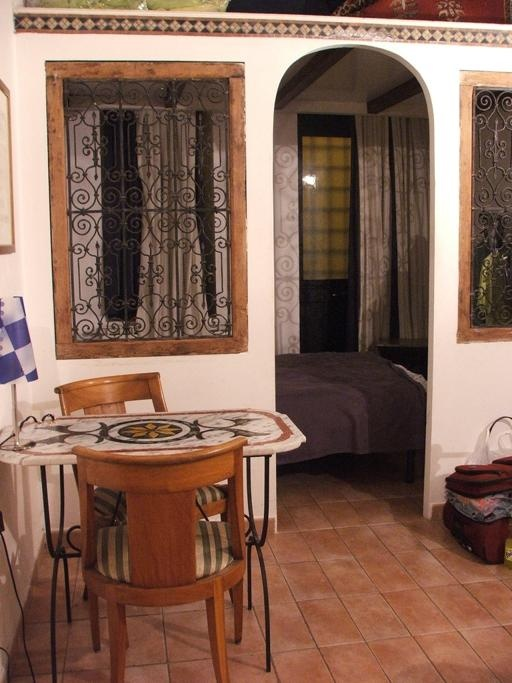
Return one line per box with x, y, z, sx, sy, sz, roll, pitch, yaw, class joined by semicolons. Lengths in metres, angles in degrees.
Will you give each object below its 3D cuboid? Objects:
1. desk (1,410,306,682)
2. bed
-0.306;0.667;2.193;1.132;0.726;0.593;-1;11;-4;desk
0.609;0.437;4.012;0.891;0.357;0.861;-1;6;-11;bed
